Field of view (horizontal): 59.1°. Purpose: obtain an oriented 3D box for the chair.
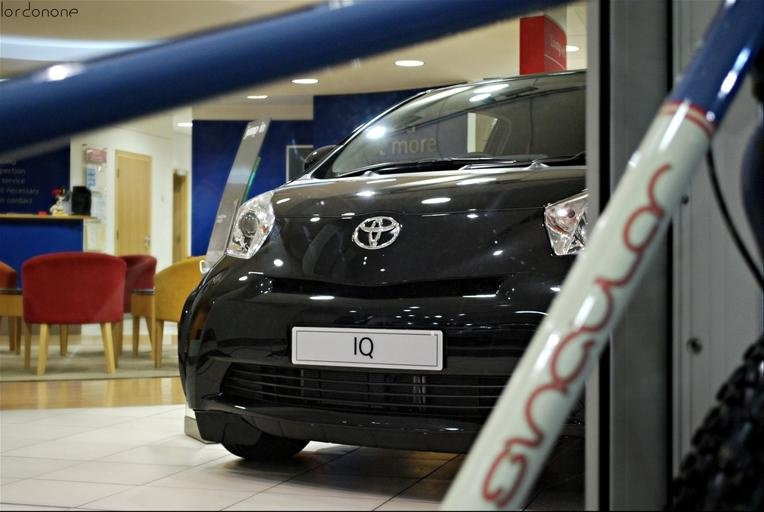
[{"bbox_3d":[-2.285,0.393,5.271,1.110,0.849,1.702,0,0,-40],"label":"chair"}]
